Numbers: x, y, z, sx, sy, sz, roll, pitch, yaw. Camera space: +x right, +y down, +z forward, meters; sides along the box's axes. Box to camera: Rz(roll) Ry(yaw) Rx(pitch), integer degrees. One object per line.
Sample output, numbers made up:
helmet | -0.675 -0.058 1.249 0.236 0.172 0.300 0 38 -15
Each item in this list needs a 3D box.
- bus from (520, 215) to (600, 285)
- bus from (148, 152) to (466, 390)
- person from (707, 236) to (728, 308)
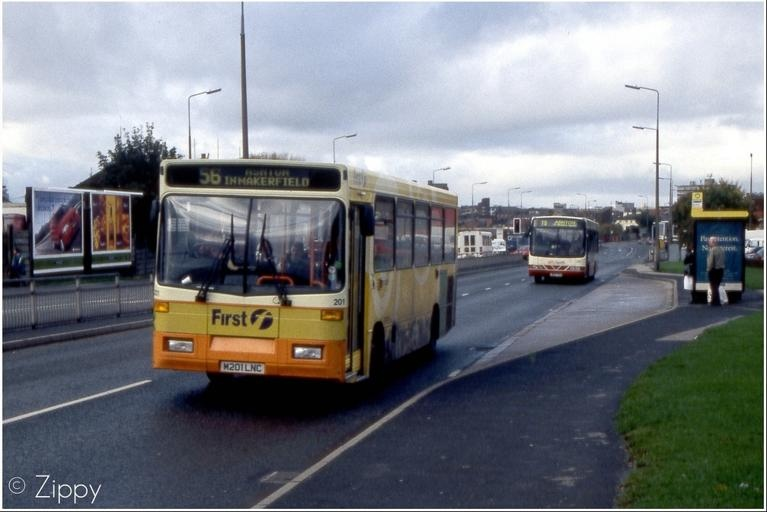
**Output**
bus | 10.207 -0.376 41.245 3.718 3.927 4.074 1 5 12
bus | -0.953 0.465 12.909 2.887 4.249 5.737 3 5 35
person | 10.958 0.514 23.479 0.610 2.194 1.198 2 5 28
